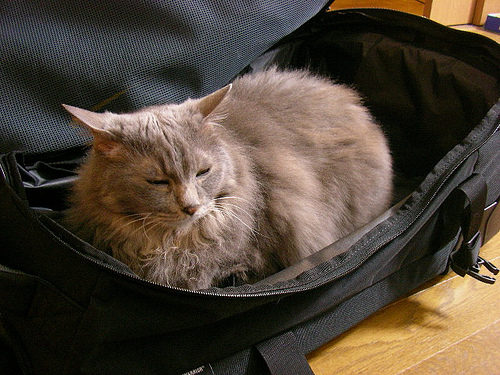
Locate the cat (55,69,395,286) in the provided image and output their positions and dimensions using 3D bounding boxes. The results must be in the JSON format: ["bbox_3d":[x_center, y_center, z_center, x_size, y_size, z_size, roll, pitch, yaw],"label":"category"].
[{"bbox_3d":[0.000,-0.043,1.444,0.535,0.429,0.805,11,38,32],"label":"cat"}]
